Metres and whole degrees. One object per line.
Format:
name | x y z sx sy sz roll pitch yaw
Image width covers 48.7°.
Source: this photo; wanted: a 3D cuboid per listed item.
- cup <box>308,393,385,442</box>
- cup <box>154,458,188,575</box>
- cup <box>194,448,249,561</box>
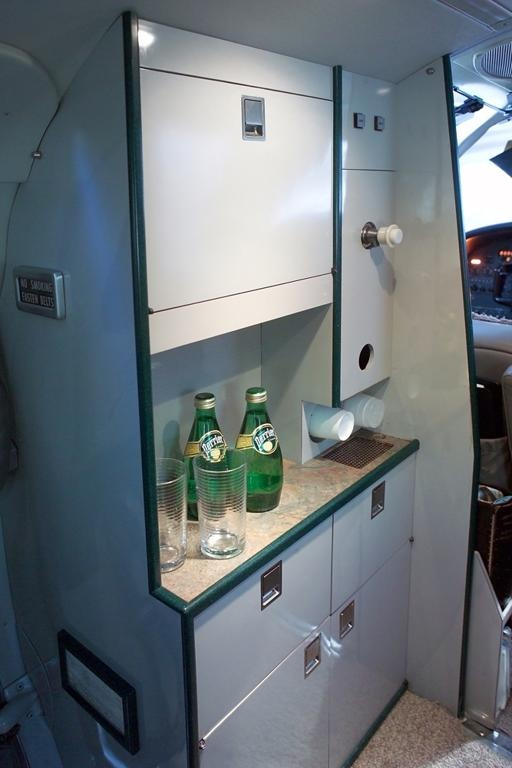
cup | 0.262 0.083 1.579 0.071 0.136 0.207 -1 11 40
cup | -0.154 0.239 1.048 0.058 0.189 0.098 -4 11 -9
cup | -0.066 0.232 1.087 0.114 0.227 0.127 3 13 20
